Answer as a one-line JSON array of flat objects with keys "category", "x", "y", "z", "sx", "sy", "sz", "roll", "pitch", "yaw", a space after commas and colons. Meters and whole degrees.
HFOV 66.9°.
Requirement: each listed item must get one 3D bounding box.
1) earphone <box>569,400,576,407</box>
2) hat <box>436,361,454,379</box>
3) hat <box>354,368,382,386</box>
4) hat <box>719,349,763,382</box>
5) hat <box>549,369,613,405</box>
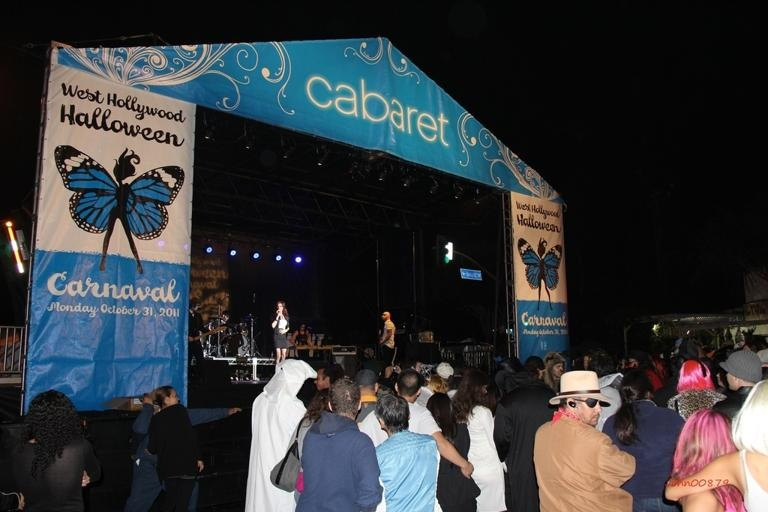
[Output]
[{"category": "earphone", "x": 1.964, "y": 1.527, "z": 5.988, "sx": 0.059, "sy": 0.058, "sz": 0.017, "roll": -25, "pitch": -33, "yaw": -1}, {"category": "hat", "x": 0.932, "y": 1.773, "z": 8.950, "sx": 0.218, "sy": 0.256, "sz": 0.731, "roll": 0, "pitch": -11, "yaw": 8}, {"category": "hat", "x": -0.212, "y": 1.464, "z": 7.022, "sx": 0.260, "sy": 0.196, "sz": 0.303, "roll": 2, "pitch": -10, "yaw": -3}, {"category": "hat", "x": 4.104, "y": 1.242, "z": 6.631, "sx": 0.287, "sy": 0.251, "sz": 0.384, "roll": -3, "pitch": 13, "yaw": -32}, {"category": "hat", "x": 2.032, "y": 1.366, "z": 6.075, "sx": 0.460, "sy": 0.265, "sz": 0.427, "roll": -10, "pitch": -9, "yaw": 26}]
